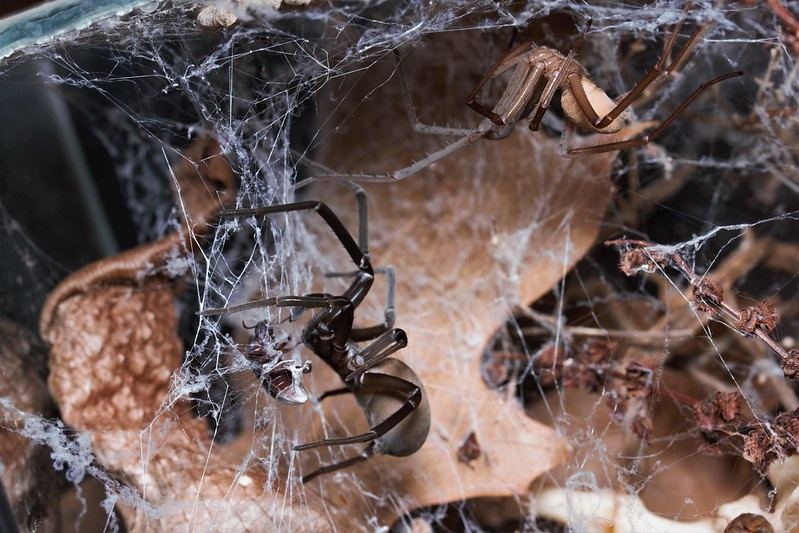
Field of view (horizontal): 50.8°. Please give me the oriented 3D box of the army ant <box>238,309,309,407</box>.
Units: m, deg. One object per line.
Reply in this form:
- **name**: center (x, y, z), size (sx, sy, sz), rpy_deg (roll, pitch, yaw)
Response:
- **army ant**: center (-0.553, 0.444, 3.915), size (0.292, 0.144, 0.513), rpy_deg (-6, 39, -28)

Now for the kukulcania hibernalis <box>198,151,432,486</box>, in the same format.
- **kukulcania hibernalis**: center (-0.541, 0.346, 3.902), size (0.758, 1.109, 1.377), rpy_deg (-9, -14, 42)
